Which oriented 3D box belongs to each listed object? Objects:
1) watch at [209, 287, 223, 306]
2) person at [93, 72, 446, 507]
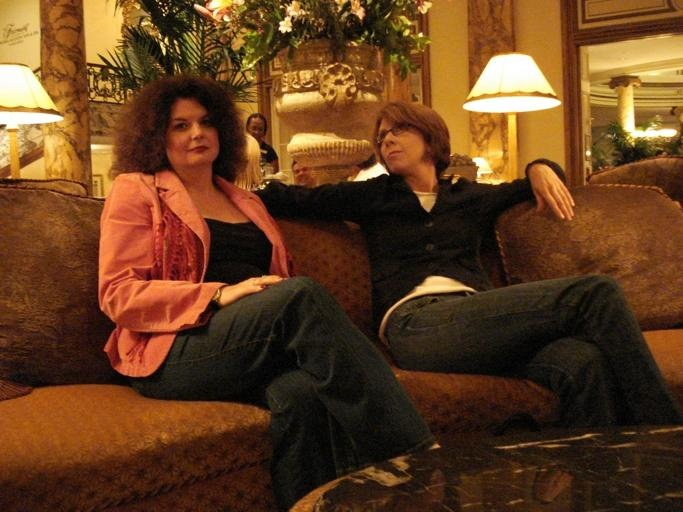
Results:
[{"bbox_3d":[-0.364,0.118,1.731,0.014,0.041,0.042,26,31,-7],"label":"watch"},{"bbox_3d":[-0.334,0.011,1.841,0.780,1.306,0.969,-2,2,-21],"label":"person"}]
